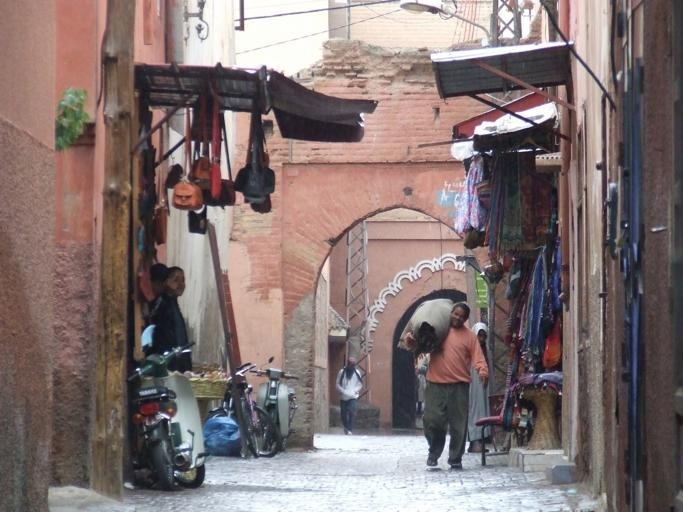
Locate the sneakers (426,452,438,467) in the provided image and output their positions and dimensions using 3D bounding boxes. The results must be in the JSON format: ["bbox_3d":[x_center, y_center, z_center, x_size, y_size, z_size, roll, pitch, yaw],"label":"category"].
[{"bbox_3d":[1.044,2.318,15.889,0.173,0.211,0.452,0,-9,4],"label":"sneakers"}]

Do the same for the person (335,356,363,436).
[{"bbox_3d":[0.173,2.758,27.562,0.461,1.499,1.015,-1,-5,0],"label":"person"}]

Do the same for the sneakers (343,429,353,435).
[{"bbox_3d":[0.159,3.472,27.430,0.070,0.116,0.250,1,-12,-11],"label":"sneakers"}]

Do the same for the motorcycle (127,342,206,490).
[{"bbox_3d":[-1.610,1.494,12.986,0.697,1.336,0.796,0,-4,-10],"label":"motorcycle"}]

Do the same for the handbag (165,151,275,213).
[{"bbox_3d":[-1.192,-0.802,14.234,0.910,0.669,0.606,-1,-2,7],"label":"handbag"}]

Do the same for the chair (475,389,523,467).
[{"bbox_3d":[1.866,2.061,17.032,0.494,0.820,0.437,0,-4,-27],"label":"chair"}]

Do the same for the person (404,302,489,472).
[{"bbox_3d":[1.209,1.438,15.825,0.793,1.873,0.667,5,-7,4],"label":"person"}]
